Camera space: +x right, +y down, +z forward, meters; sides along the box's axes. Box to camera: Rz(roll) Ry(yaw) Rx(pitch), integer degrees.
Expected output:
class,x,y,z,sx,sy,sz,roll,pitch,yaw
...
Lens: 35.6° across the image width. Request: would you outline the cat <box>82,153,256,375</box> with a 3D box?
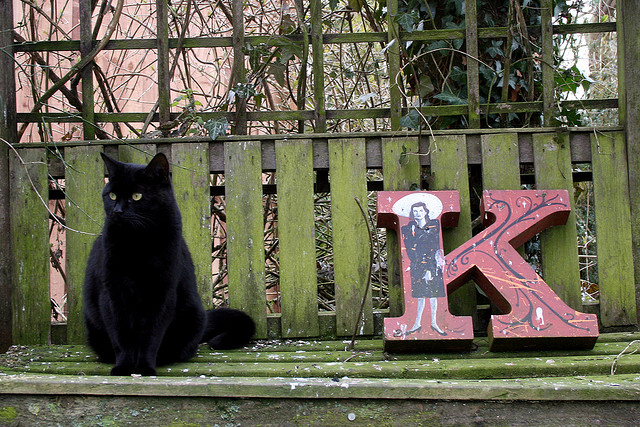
class,x,y,z,sx,sy,sz,roll,pitch,yaw
cat,-1.036,0.399,6.328,1.365,1.586,1.098,-1,-13,-8
